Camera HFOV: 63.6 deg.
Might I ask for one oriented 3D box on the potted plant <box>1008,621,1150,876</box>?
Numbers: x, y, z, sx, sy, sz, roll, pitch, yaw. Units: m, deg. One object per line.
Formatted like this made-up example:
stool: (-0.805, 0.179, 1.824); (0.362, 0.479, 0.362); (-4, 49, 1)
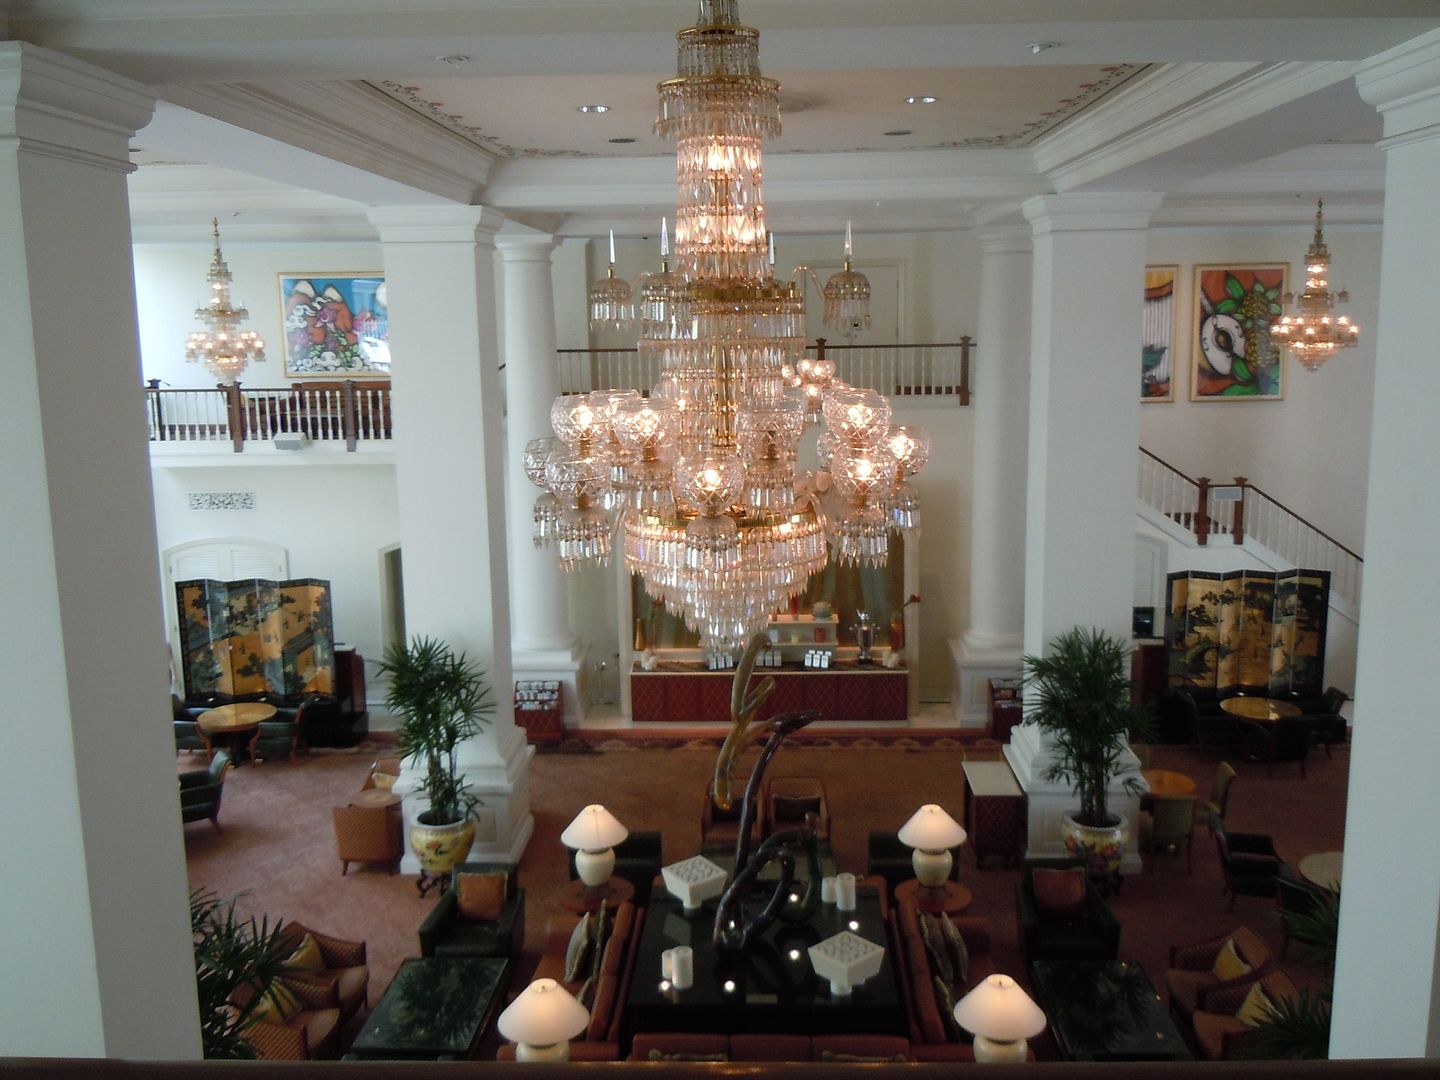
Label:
potted plant: (3.358, 2.060, 11.000); (1.147, 2.520, 1.192); (-1, 6, 22)

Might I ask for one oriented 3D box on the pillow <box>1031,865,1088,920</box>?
pillow: (2.884, 2.970, 9.889); (0.398, 0.352, 0.417); (-1, 2, -3)

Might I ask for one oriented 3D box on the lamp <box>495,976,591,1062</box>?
lamp: (-1.141, 3.138, 7.512); (0.524, 0.671, 0.655); (-4, 6, -12)

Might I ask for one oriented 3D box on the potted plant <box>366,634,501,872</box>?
potted plant: (-2.596, 2.121, 10.964); (0.935, 2.417, 0.808); (-5, 6, -17)

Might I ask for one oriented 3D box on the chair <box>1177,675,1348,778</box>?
chair: (6.680, 2.274, 14.632); (1.252, 0.592, 1.368); (-1, 7, 4)

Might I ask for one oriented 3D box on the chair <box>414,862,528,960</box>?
chair: (-2.092, 3.193, 9.995); (0.671, 0.815, 0.803); (0, 4, 4)

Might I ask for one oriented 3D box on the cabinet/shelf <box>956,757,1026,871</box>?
cabinet/shelf: (2.734, 2.757, 11.616); (0.387, 0.626, 1.027); (-1, 13, 2)

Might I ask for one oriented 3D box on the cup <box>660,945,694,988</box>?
cup: (-0.324, 3.156, 8.631); (0.295, 0.296, 0.168); (0, 7, 19)

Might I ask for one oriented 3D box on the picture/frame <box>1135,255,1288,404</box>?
picture/frame: (7.410, -3.147, 17.466); (2.067, 2.107, 0.256); (-3, 6, 2)

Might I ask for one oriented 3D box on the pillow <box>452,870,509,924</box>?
pillow: (-2.048, 3.086, 10.016); (0.430, 0.457, 0.162); (-1, 2, 4)

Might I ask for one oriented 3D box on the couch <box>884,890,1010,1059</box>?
couch: (1.706, 3.516, 8.989); (0.510, 0.659, 1.563); (-3, 20, 1)

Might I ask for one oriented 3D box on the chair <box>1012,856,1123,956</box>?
chair: (2.960, 3.125, 9.932); (0.673, 0.728, 0.781); (0, -3, 5)

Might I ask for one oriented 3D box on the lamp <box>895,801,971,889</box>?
lamp: (1.847, 2.674, 10.090); (0.503, 0.838, 0.891); (-2, 6, 11)

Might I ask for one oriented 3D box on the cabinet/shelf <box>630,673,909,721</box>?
cabinet/shelf: (0.732, 2.164, 16.235); (3.843, 0.816, 0.366); (-2, 6, 6)

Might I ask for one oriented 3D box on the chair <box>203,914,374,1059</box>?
chair: (-3.108, 3.437, 8.810); (0.764, 0.928, 1.626); (-4, 6, -12)
